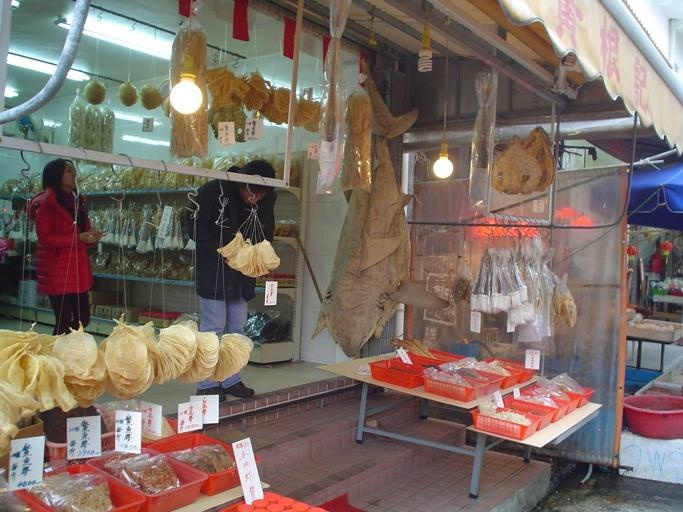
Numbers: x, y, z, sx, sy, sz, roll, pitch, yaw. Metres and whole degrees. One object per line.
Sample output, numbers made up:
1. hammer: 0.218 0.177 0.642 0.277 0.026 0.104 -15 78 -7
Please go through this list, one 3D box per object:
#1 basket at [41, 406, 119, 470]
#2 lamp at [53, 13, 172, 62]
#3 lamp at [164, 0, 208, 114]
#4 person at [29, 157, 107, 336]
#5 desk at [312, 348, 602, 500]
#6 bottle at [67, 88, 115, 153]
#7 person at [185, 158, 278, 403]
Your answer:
1. basket: -1.489 0.973 2.960 0.267 0.133 0.391 4 -7 -32
2. lamp: -1.756 -1.776 4.463 0.713 0.363 0.215 0 1 -2
3. lamp: -0.821 -1.119 2.914 0.193 0.838 0.689 0 1 -16
4. person: -1.824 -0.037 3.580 0.393 1.158 0.633 -1 1 -30
5. desk: 0.943 1.363 4.548 1.733 0.662 1.334 5 5 34
6. bottle: -1.537 -0.818 3.346 0.253 0.325 0.198 -1 1 -27
7. person: -0.835 0.295 4.189 0.644 1.928 1.432 0 1 -15
